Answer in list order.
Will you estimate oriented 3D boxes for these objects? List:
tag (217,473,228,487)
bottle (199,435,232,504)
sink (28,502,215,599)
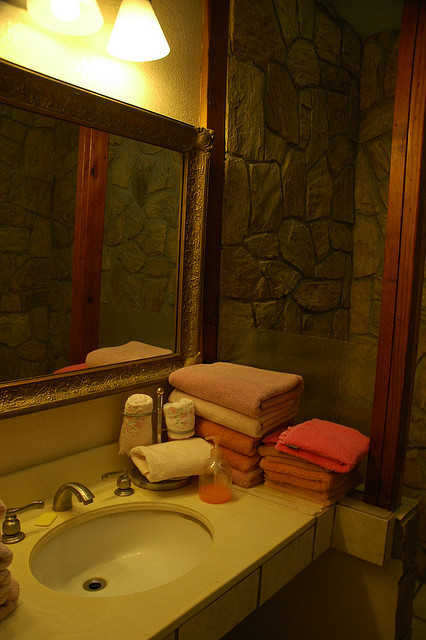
[{"bbox_3d":[0.020,0.370,1.074,0.027,0.032,0.027,0,1,2],"label":"tag"},{"bbox_3d":[0.003,0.342,1.082,0.069,0.133,0.068,2,4,0],"label":"bottle"},{"bbox_3d":[-0.190,0.461,0.944,0.346,0.132,0.167,3,0,-24],"label":"sink"}]
